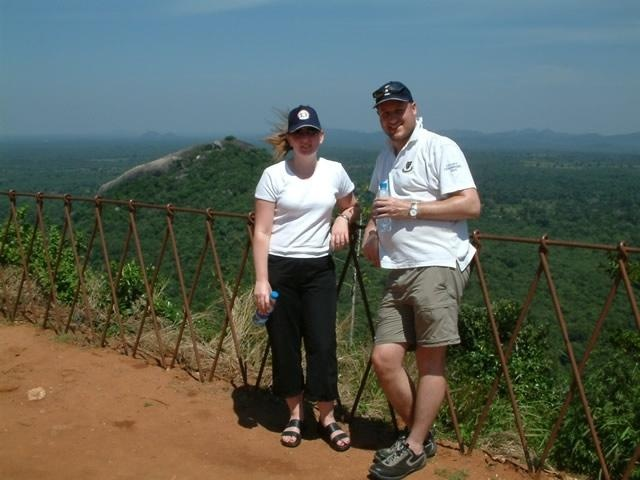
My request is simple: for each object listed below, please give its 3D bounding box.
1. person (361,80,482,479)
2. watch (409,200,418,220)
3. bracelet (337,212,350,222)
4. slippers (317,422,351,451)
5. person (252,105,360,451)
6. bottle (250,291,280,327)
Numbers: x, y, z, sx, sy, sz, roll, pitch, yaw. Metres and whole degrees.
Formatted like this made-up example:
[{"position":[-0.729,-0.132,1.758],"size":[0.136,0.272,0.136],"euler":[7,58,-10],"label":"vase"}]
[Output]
[{"position":[0.607,0.259,3.255],"size":[0.732,2.485,0.647],"euler":[5,11,18],"label":"person"},{"position":[0.587,-0.189,3.162],"size":[0.051,0.093,0.035],"euler":[3,10,10],"label":"watch"},{"position":[0.175,-0.165,3.581],"size":[0.065,0.061,0.045],"euler":[19,52,-4],"label":"bracelet"},{"position":[0.106,1.358,3.571],"size":[0.111,0.104,0.256],"euler":[-7,7,-31],"label":"slippers"},{"position":[-0.105,0.269,3.495],"size":[0.719,2.314,0.584],"euler":[1,10,-3],"label":"person"},{"position":[-0.362,0.457,3.429],"size":[0.171,0.256,0.104],"euler":[0,10,-9],"label":"bottle"}]
